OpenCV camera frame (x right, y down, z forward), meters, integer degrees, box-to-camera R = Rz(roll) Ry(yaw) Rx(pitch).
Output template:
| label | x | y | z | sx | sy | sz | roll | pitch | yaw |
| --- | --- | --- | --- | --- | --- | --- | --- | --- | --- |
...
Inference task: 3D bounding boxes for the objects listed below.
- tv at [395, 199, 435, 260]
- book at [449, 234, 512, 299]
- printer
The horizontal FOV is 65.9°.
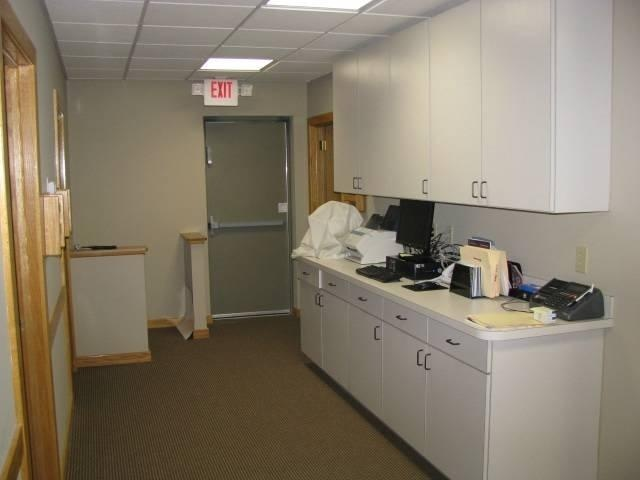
| label | x | y | z | sx | sy | sz | roll | pitch | yaw |
| --- | --- | --- | --- | --- | --- | --- | --- | --- | --- |
| tv | 0.824 | -0.085 | 4.232 | 0.046 | 0.361 | 0.458 | 6 | 7 | -16 |
| book | 1.099 | 0.162 | 3.589 | 0.285 | 0.551 | 0.522 | -4 | 7 | -24 |
| printer | 0.521 | -0.053 | 4.610 | 0.554 | 0.668 | 0.456 | 0 | 4 | -17 |
